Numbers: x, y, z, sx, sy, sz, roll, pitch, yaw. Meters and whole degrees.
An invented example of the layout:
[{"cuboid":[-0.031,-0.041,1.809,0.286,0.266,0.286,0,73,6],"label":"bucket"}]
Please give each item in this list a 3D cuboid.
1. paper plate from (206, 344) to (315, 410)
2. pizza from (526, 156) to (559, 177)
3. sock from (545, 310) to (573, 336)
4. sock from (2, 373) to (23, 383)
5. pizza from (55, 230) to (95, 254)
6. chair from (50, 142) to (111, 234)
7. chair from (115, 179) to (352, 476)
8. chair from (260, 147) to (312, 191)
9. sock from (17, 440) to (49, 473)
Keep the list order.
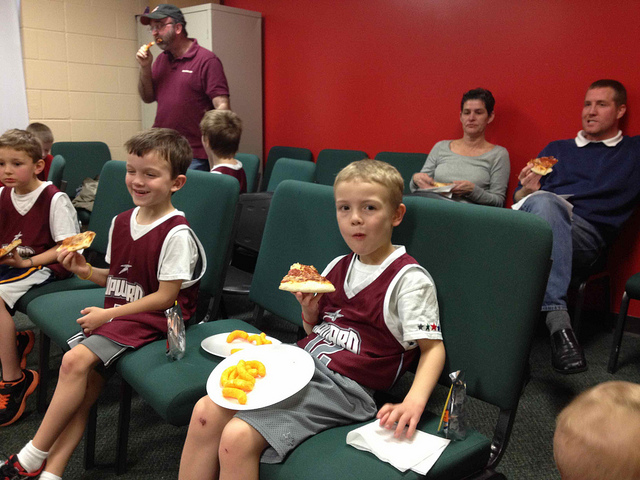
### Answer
[{"cuboid":[-0.163,0.331,1.212,0.230,0.135,0.250,-2,10,-29],"label":"paper plate"},{"cuboid":[1.313,-0.446,2.578,0.142,0.051,0.144,-22,35,-18],"label":"pizza"},{"cuboid":[1.148,0.400,2.150,0.116,0.128,0.101,-19,-13,35],"label":"sock"},{"cuboid":[-1.356,0.624,1.947,0.073,0.012,0.034,-12,26,-33],"label":"sock"},{"cuboid":[-0.955,-0.009,1.727,0.116,0.022,0.115,-12,34,18],"label":"pizza"},{"cuboid":[-1.666,-0.371,3.038,0.412,0.839,0.453,-6,16,-37],"label":"chair"},{"cuboid":[-0.320,0.189,1.773,0.739,1.137,0.867,-4,13,-33],"label":"chair"},{"cuboid":[-0.312,-0.719,4.664,0.440,0.657,0.505,9,8,37],"label":"chair"},{"cuboid":[-0.936,0.714,1.480,0.052,0.057,0.128,15,4,14],"label":"sock"}]
